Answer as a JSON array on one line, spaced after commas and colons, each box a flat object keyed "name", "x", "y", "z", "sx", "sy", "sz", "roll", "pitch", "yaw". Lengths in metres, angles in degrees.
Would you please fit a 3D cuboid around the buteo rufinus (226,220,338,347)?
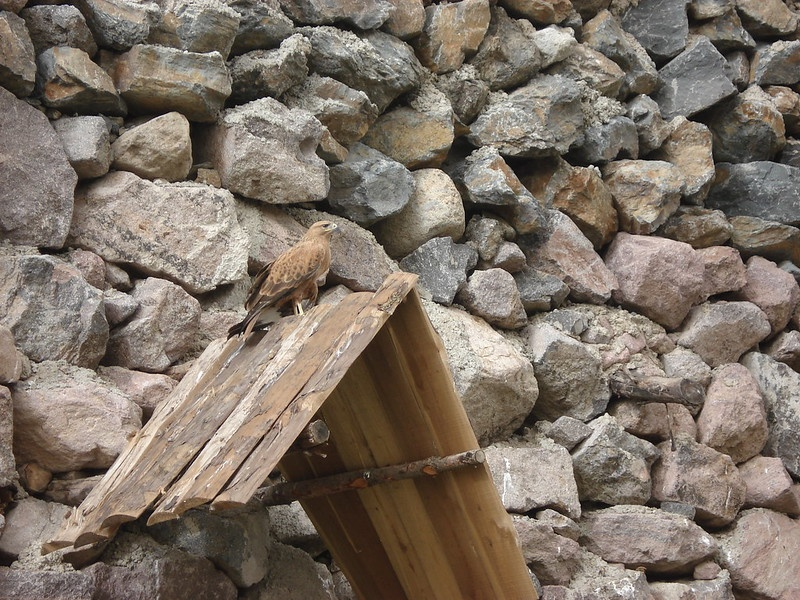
[{"name": "buteo rufinus", "x": -0.785, "y": -0.081, "z": 10.930, "sx": 0.744, "sy": 0.419, "sz": 0.921, "roll": -5, "pitch": 64, "yaw": 2}]
